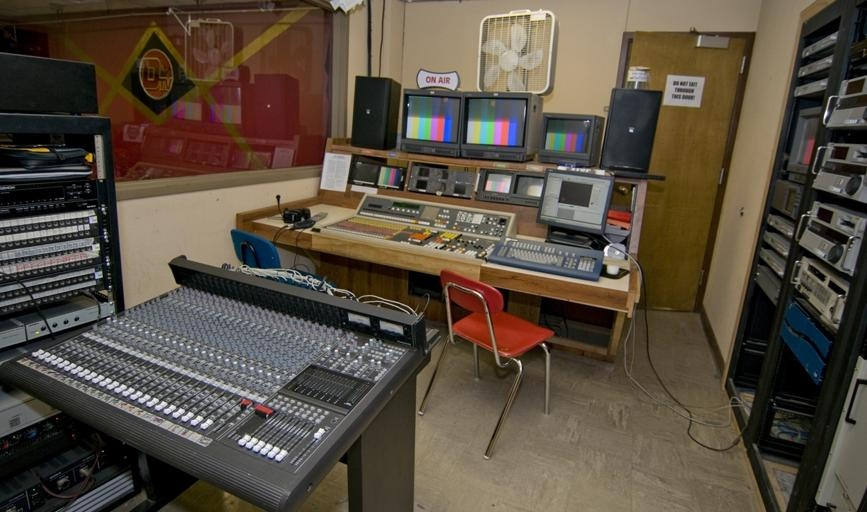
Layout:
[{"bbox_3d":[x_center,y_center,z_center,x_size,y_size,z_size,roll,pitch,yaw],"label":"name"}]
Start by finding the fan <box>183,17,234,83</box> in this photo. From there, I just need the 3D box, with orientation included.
[{"bbox_3d":[-1.721,-1.566,4.290,0.319,0.532,0.395,12,21,12],"label":"fan"}]

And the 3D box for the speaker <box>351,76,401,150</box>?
[{"bbox_3d":[-0.497,-1.258,5.020,0.483,0.608,0.308,-5,20,-15],"label":"speaker"}]

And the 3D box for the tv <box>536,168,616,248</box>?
[{"bbox_3d":[1.094,-0.357,4.315,0.508,0.490,0.283,12,28,27],"label":"tv"}]

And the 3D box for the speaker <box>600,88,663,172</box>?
[{"bbox_3d":[1.471,-0.932,4.267,0.372,0.611,0.133,5,21,15],"label":"speaker"}]

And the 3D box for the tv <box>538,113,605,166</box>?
[{"bbox_3d":[1.066,-0.917,4.660,0.548,0.491,0.430,9,15,26],"label":"tv"}]

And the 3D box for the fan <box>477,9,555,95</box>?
[{"bbox_3d":[0.675,-1.635,4.605,0.695,0.687,0.248,9,22,22],"label":"fan"}]

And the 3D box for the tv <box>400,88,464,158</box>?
[{"bbox_3d":[0.000,-1.117,4.751,0.543,0.494,0.282,7,14,19],"label":"tv"}]

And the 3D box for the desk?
[{"bbox_3d":[-0.188,-0.015,4.520,2.530,0.782,0.996,8,26,31],"label":"desk"}]

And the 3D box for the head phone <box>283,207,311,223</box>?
[{"bbox_3d":[-1.105,-0.329,4.599,0.175,0.114,0.134,17,27,41],"label":"head phone"}]

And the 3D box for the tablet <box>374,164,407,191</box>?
[{"bbox_3d":[-0.368,-0.686,4.952,0.238,0.219,0.055,4,-13,20],"label":"tablet"}]

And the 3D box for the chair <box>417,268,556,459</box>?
[{"bbox_3d":[0.421,0.622,4.080,0.874,1.139,1.115,8,21,21],"label":"chair"}]

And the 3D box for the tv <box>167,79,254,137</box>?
[{"bbox_3d":[-1.713,-1.169,4.425,0.715,0.371,0.491,-10,6,-21],"label":"tv"}]

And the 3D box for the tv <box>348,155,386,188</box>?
[{"bbox_3d":[-0.609,-0.751,5.044,0.324,0.281,0.073,8,-7,18],"label":"tv"}]
